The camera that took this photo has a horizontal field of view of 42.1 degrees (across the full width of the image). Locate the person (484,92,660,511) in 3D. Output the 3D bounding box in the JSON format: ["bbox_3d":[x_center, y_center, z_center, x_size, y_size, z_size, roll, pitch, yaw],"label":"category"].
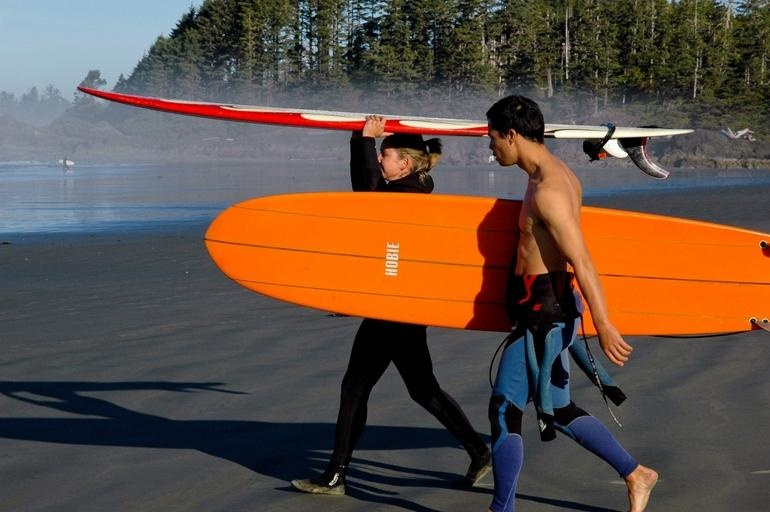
[{"bbox_3d":[1.291,0.340,7.168,1.119,2.930,0.892,0,14,-9],"label":"person"}]

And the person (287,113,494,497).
[{"bbox_3d":[0.097,0.363,7.674,1.465,2.822,0.973,2,14,-4],"label":"person"}]
